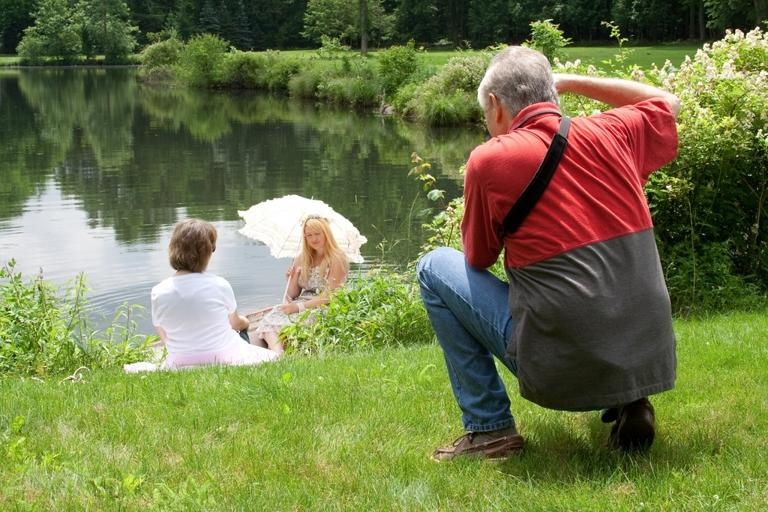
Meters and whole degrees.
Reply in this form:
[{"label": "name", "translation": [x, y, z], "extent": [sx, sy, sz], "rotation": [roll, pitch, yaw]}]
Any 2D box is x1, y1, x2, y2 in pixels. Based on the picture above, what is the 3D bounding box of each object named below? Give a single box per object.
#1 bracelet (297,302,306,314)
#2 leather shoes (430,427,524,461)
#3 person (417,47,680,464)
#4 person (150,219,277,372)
[{"label": "bracelet", "translation": [-0.857, 0.539, 9.103], "extent": [0.090, 0.091, 0.094], "rotation": [-4, -1, 24]}, {"label": "leather shoes", "translation": [0.611, 1.180, 5.501], "extent": [0.595, 0.216, 0.225], "rotation": [-4, -11, 13]}, {"label": "person", "translation": [1.034, 0.001, 5.309], "extent": [1.507, 2.503, 0.879], "rotation": [0, 14, 7]}, {"label": "person", "translation": [-1.603, 0.309, 7.675], "extent": [1.098, 1.261, 1.236], "rotation": [2, 2, 25]}]
